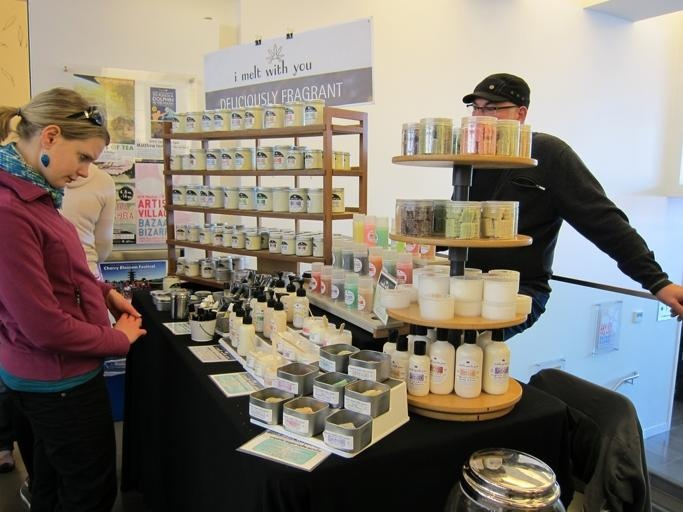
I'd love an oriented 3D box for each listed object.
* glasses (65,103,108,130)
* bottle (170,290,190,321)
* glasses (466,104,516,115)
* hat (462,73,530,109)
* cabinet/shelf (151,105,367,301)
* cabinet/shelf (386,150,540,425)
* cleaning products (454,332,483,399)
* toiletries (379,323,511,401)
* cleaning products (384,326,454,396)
[{"bbox_3d":[-0.933,-0.516,1.906,0.095,0.036,0.085,-9,12,1],"label":"glasses"},{"bbox_3d":[-0.831,0.255,2.654,0.167,0.151,0.102,2,0,-18],"label":"bottle"},{"bbox_3d":[0.715,-0.692,2.433,0.128,0.029,0.114,-5,12,-20],"label":"glasses"},{"bbox_3d":[0.746,-0.777,2.433,0.274,0.116,0.179,12,14,-16],"label":"hat"},{"bbox_3d":[-0.563,-0.338,3.178,1.597,1.154,0.508,6,13,33],"label":"cabinet/shelf"},{"bbox_3d":[0.423,0.082,1.890,0.482,0.909,0.481,3,6,30],"label":"cabinet/shelf"},{"bbox_3d":[0.440,0.365,1.769,0.099,0.232,0.054,0,5,0],"label":"cleaning products"},{"bbox_3d":[0.348,0.281,1.813,0.462,0.363,0.233,0,-3,1],"label":"toiletries"},{"bbox_3d":[0.310,0.342,1.869,0.304,0.252,0.221,0,3,17],"label":"cleaning products"}]
